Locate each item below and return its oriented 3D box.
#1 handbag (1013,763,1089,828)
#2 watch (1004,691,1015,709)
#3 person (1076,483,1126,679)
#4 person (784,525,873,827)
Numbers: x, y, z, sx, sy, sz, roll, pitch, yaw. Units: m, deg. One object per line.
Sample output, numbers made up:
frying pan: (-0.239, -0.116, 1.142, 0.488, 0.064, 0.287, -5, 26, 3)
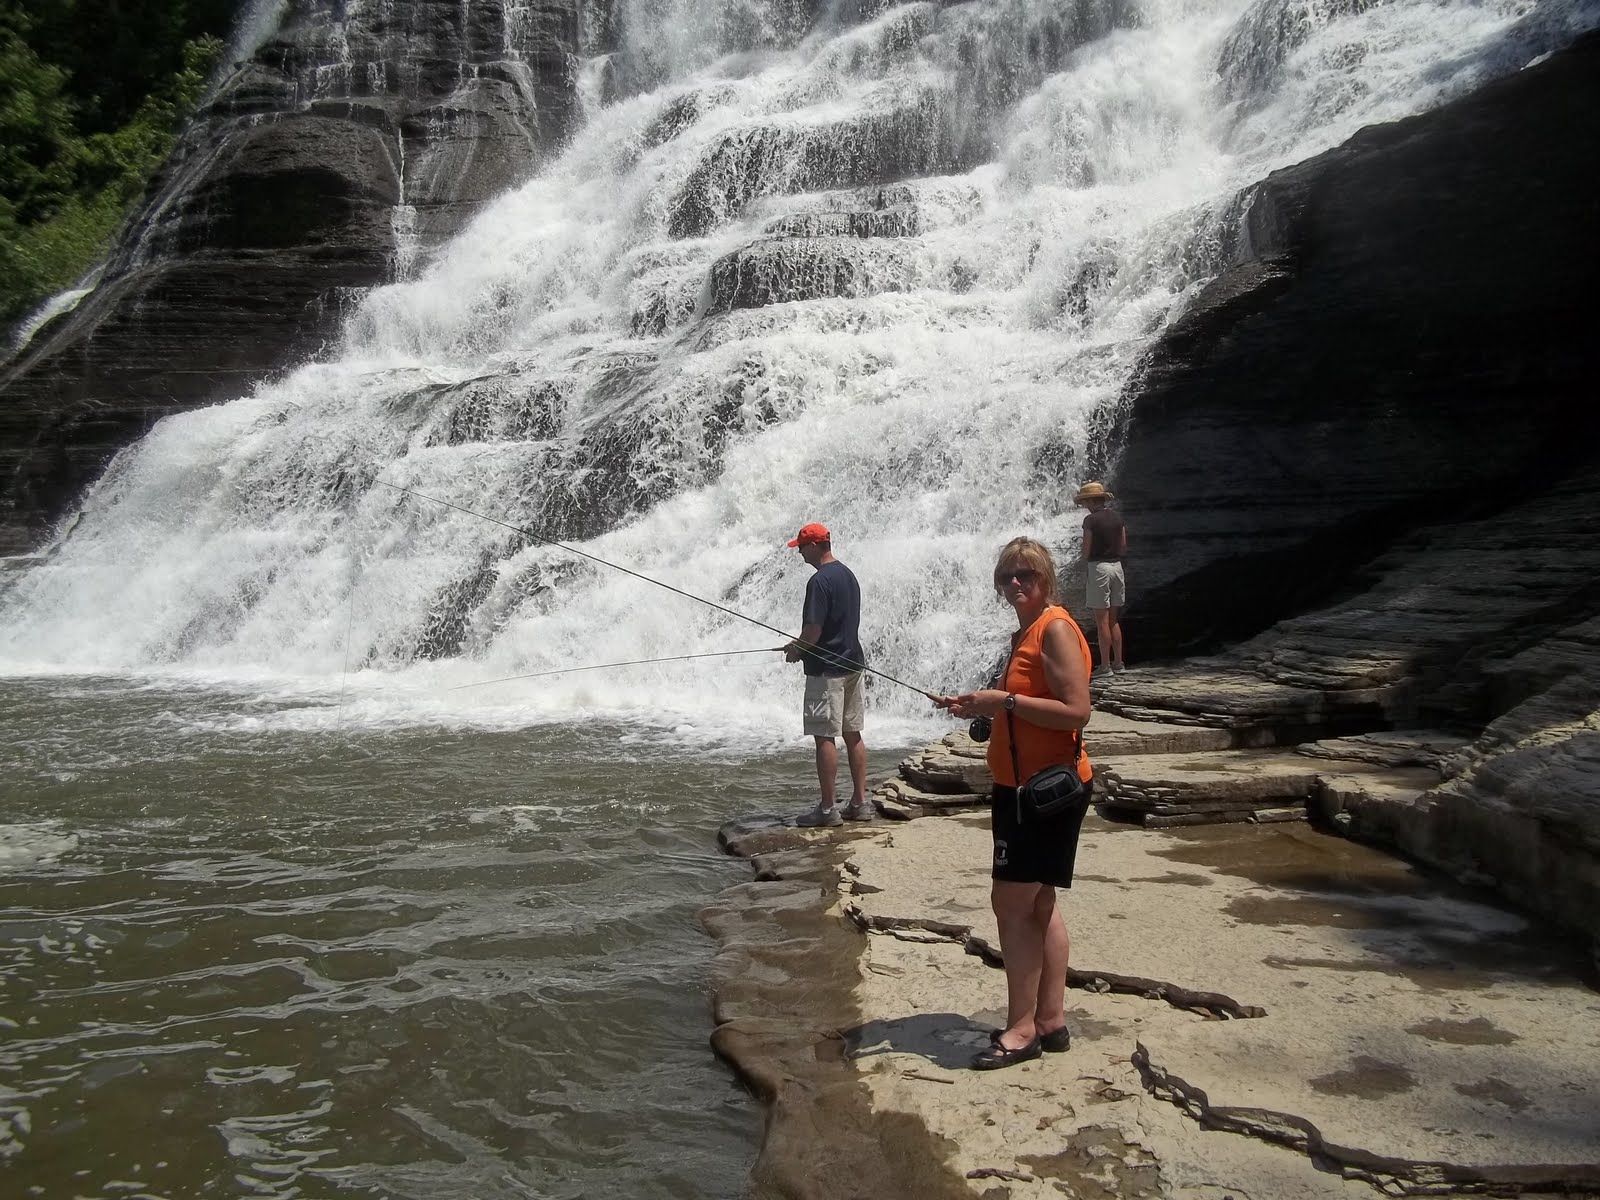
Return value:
handbag: (0.949, 0.748, 4.584, 0.251, 0.146, 0.118, -23, 9, 2)
watch: (0.814, 0.392, 4.629, 0.038, 0.053, 0.035, -3, 13, 8)
person: (2.474, -0.214, 10.397, 0.623, 1.600, 0.585, 0, -1, 31)
person: (0.173, 0.480, 7.676, 0.493, 1.977, 0.868, -5, 13, 2)
